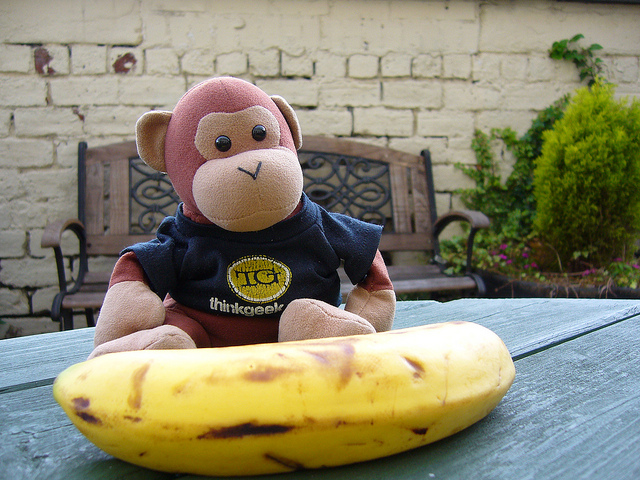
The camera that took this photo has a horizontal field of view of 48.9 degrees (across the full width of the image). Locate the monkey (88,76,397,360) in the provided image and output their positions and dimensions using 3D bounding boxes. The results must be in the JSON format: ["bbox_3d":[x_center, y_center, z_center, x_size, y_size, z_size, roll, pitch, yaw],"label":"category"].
[{"bbox_3d":[-0.296,-0.043,2.685,1.090,1.182,0.851,-3,10,-10],"label":"monkey"}]

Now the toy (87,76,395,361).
[{"bbox_3d":[-0.288,-0.043,2.664,1.034,1.169,0.881,-4,6,-6],"label":"toy"}]
